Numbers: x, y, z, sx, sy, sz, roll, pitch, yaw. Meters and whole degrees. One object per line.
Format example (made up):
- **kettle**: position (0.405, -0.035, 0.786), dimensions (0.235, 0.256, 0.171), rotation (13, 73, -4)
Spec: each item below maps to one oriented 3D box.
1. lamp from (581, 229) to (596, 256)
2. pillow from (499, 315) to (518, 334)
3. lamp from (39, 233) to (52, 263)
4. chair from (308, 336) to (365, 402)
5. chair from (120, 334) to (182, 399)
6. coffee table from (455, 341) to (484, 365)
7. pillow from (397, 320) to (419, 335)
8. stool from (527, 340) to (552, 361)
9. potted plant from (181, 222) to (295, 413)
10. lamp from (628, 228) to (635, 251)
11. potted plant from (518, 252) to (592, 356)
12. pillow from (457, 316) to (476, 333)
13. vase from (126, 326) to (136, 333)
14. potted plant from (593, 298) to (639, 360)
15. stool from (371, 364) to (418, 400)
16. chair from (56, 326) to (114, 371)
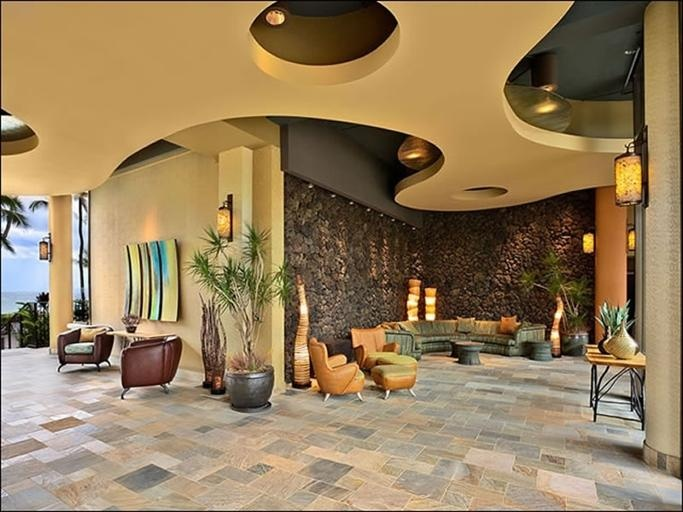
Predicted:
- **lamp**: position (6.313, -0.356, 10.553), dimensions (0.283, 0.607, 0.391), rotation (1, 2, 27)
- **pillow**: position (4.420, 1.812, 10.961), dimensions (0.195, 0.406, 0.350), rotation (31, -29, -24)
- **lamp**: position (-7.343, -0.226, 10.207), dimensions (0.280, 0.681, 0.210), rotation (-1, 2, -44)
- **chair**: position (-0.230, 1.834, 6.970), dimensions (1.074, 1.051, 0.820), rotation (0, -3, -13)
- **chair**: position (-3.168, 1.878, 7.053), dimensions (0.973, 0.817, 0.920), rotation (6, -12, -19)
- **coffee table**: position (2.905, 2.185, 9.416), dimensions (0.552, 0.371, 0.530), rotation (1, 0, 9)
- **pillow**: position (1.750, 1.849, 10.828), dimensions (0.504, 0.162, 0.598), rotation (1, -4, 27)
- **stool**: position (4.710, 2.238, 9.834), dimensions (0.507, 0.339, 0.427), rotation (0, -2, 15)
- **potted plant**: position (-1.801, 0.864, 6.880), dimensions (2.147, 2.804, 1.328), rotation (1, 2, 32)
- **lamp**: position (7.111, -0.424, 10.148), dimensions (0.138, 0.547, 0.834), rotation (1, 2, 32)
- **potted plant**: position (5.639, 1.136, 10.909), dimensions (0.788, 2.630, 1.522), rotation (-1, 2, -42)
- **pillow**: position (3.448, 1.912, 11.473), dimensions (0.432, 0.399, 0.208), rotation (3, -25, 16)
- **vase**: position (-4.427, 1.517, 8.675), dimensions (0.164, 0.099, 0.156), rotation (2, -5, -1)
- **potted plant**: position (3.779, 0.982, 5.621), dimensions (0.457, 0.739, 0.585), rotation (0, 1, 17)
- **stool**: position (0.841, 2.096, 6.957), dimensions (0.542, 0.347, 0.560), rotation (2, -10, -28)
- **chair**: position (-5.323, 1.919, 8.770), dimensions (1.066, 0.903, 0.973), rotation (0, -17, -6)
